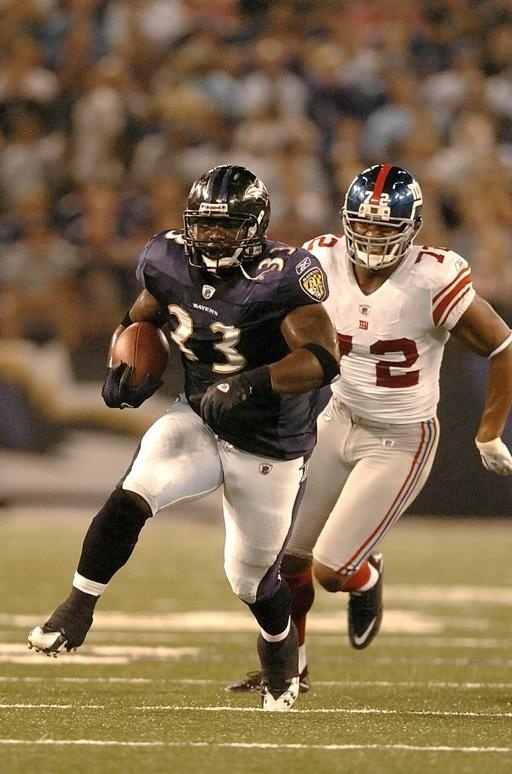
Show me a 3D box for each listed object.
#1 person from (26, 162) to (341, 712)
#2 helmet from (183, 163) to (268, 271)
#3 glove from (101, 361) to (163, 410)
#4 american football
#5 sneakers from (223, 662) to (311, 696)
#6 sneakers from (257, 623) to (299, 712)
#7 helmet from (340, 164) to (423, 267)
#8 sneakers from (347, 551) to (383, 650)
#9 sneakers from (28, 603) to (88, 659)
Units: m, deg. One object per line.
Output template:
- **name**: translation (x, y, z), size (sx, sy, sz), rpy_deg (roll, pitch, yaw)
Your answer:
- **person**: translation (-0.111, 0.226, 2.146), size (0.663, 1.379, 0.926), rpy_deg (-3, 35, 6)
- **helmet**: translation (-0.076, -0.421, 2.099), size (0.225, 0.209, 0.266), rpy_deg (10, 24, 16)
- **glove**: translation (-0.304, 0.005, 2.112), size (0.134, 0.113, 0.104), rpy_deg (37, -8, -22)
- **american football**: translation (-0.289, -0.106, 2.208), size (0.149, 0.120, 0.172), rpy_deg (9, -7, 0)
- **sneakers**: translation (0.071, 0.835, 2.491), size (0.327, 0.105, 0.095), rpy_deg (3, -9, -8)
- **sneakers**: translation (0.091, 0.697, 2.148), size (0.084, 0.103, 0.218), rpy_deg (-9, 32, 16)
- **helmet**: translation (0.372, -0.553, 2.690), size (0.279, 0.253, 0.313), rpy_deg (4, 34, -1)
- **sneakers**: translation (0.350, 0.720, 2.927), size (0.121, 0.292, 0.149), rpy_deg (8, 0, 40)
- **sneakers**: translation (-0.420, 0.521, 1.869), size (0.083, 0.086, 0.213), rpy_deg (13, -4, 12)
